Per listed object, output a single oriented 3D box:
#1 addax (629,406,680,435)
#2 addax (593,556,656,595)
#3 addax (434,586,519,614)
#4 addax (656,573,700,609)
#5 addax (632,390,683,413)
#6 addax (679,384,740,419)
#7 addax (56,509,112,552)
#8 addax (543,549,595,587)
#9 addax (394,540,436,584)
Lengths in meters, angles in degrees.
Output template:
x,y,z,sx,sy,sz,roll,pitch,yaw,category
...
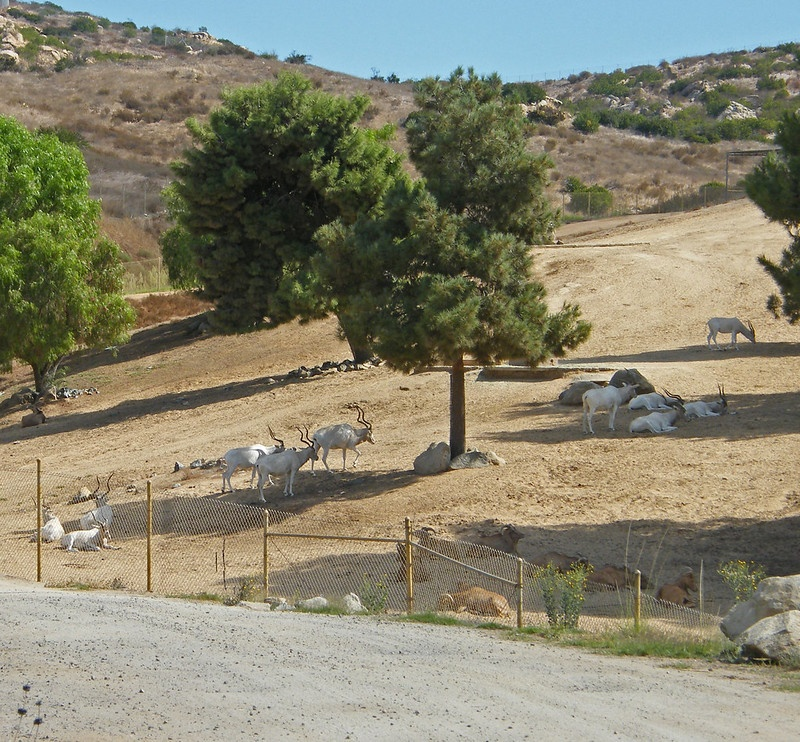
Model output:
x,y,z,sx,sy,sz,roll,pitch,yaw,category
10.355,2.155,83.431,2.262,1.083,0.789,-11,12,-30,addax
7.844,7.364,74.147,2.196,1.425,0.943,-2,3,-9,addax
2.641,8.163,72.589,2.500,1.000,0.670,-1,-4,4,addax
9.900,7.794,73.225,1.724,1.106,0.978,1,-4,-25,addax
10.407,1.365,85.079,1.892,0.946,0.878,-3,-2,9,addax
12.457,1.489,84.792,1.826,1.030,1.054,-1,-4,4,addax
-11.623,6.100,77.900,0.982,1.678,2.509,9,-26,-45,addax
6.029,7.064,74.473,1.873,1.054,1.793,-1,-4,4,addax
0.441,6.859,73.903,1.162,1.423,2.654,-1,-4,-1,addax
